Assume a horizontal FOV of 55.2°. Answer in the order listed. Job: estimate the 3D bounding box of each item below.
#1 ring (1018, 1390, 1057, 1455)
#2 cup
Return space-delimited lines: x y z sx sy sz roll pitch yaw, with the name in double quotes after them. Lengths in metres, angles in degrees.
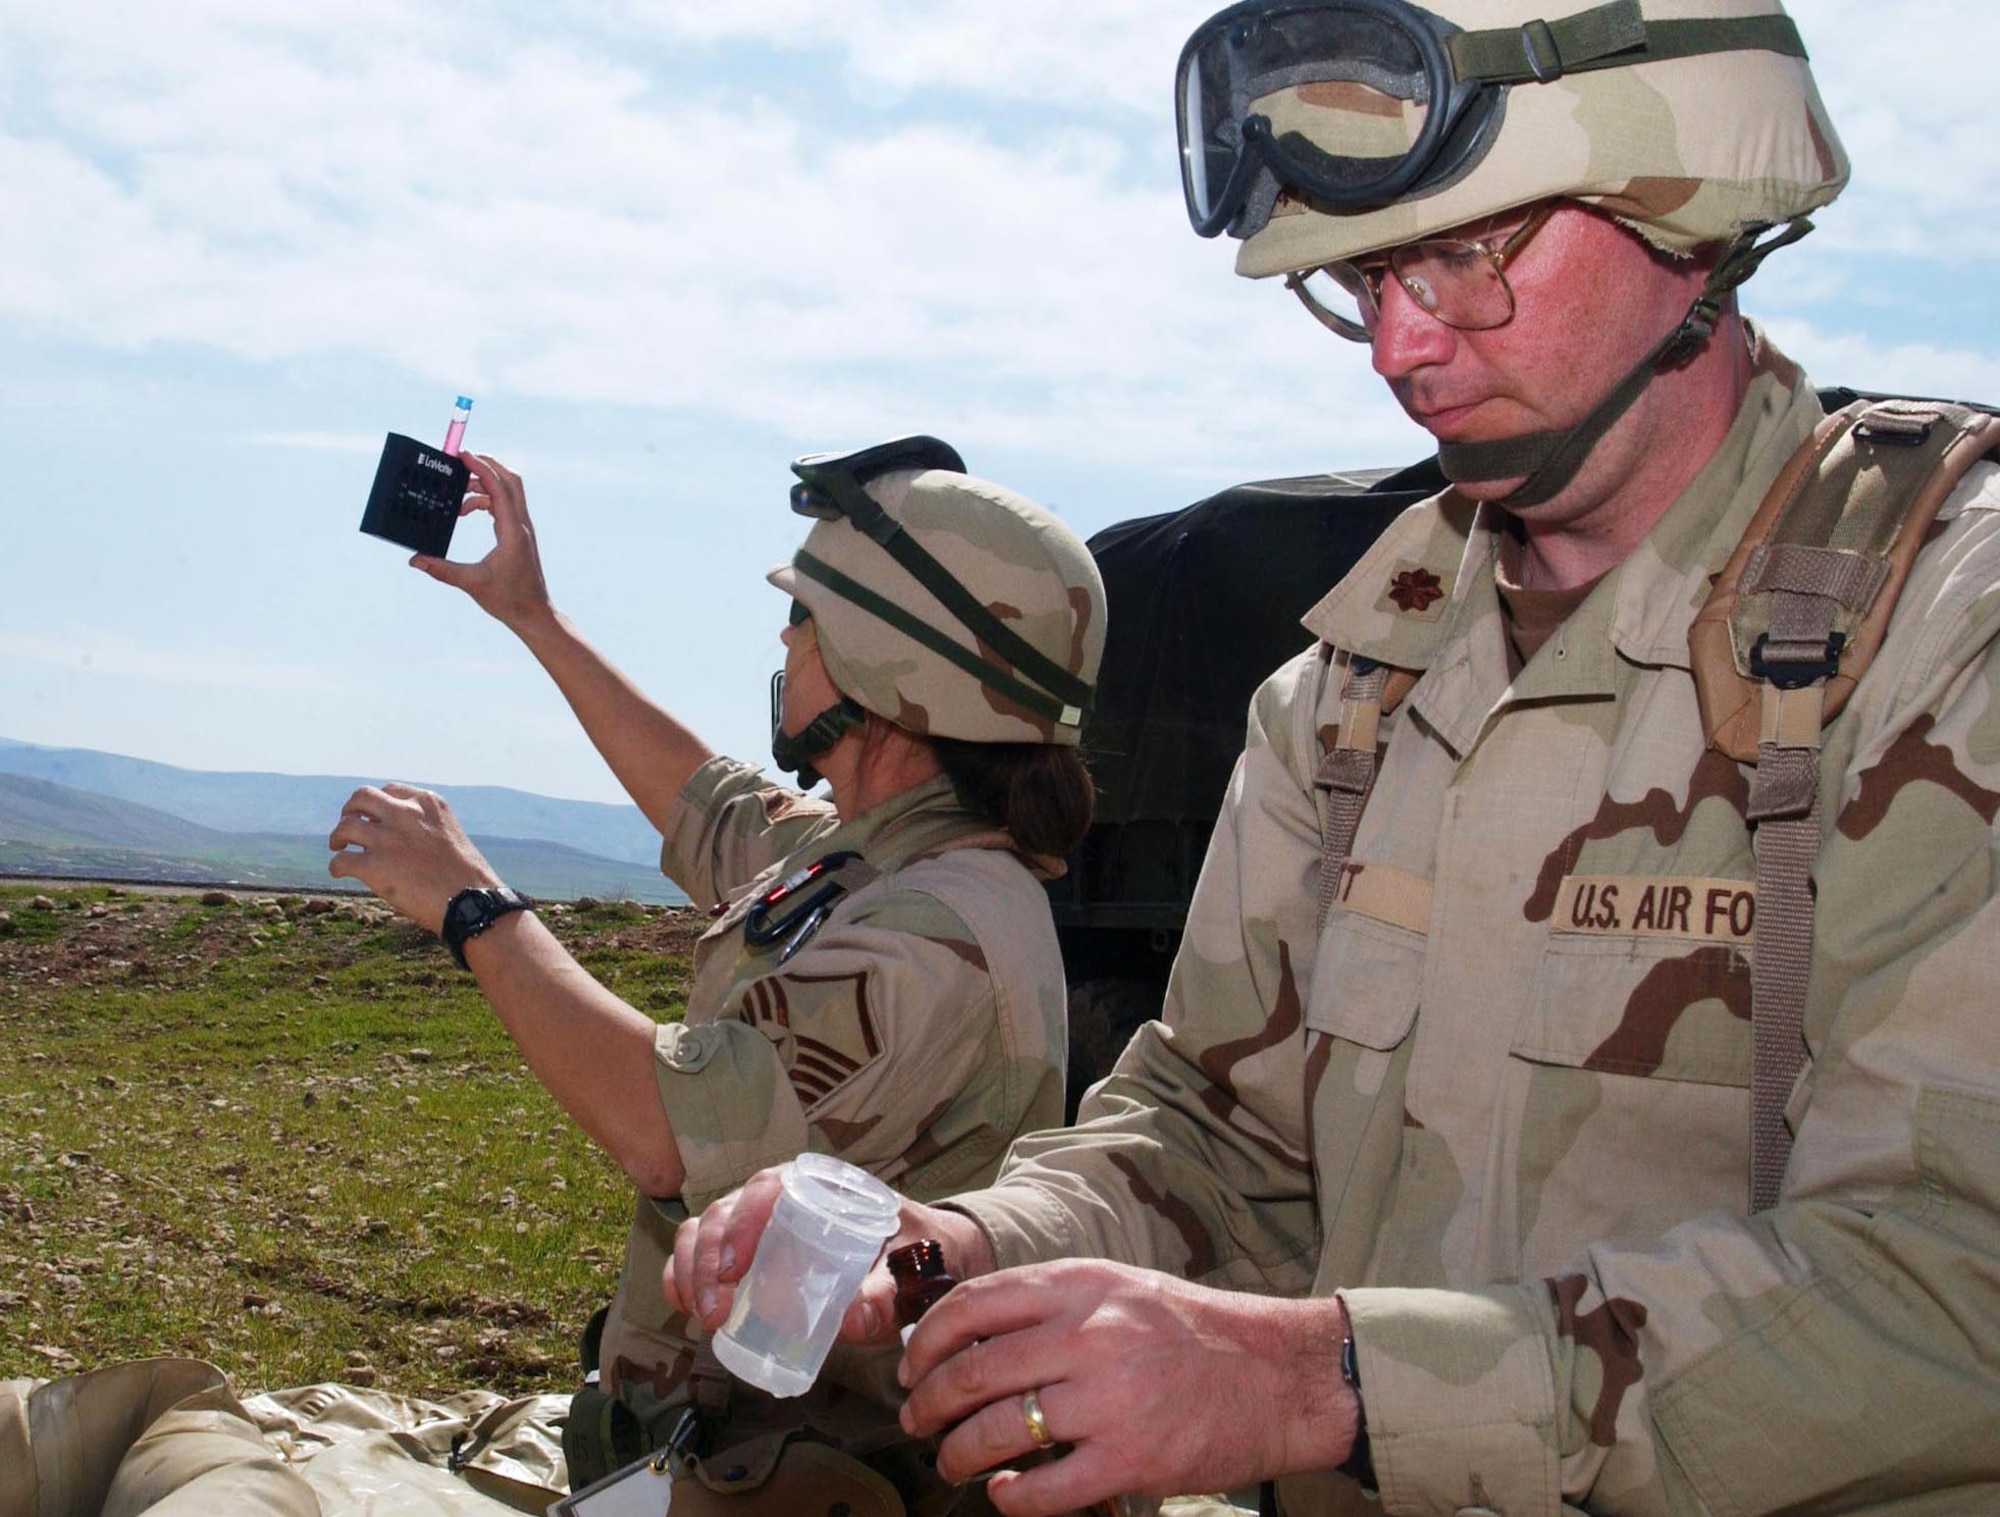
0.034 0.639 1.845 0.045 0.049 0.040 -10 -10 2 "ring"
-0.214 0.563 2.115 0.191 0.257 0.168 1 2 -16 "cup"
